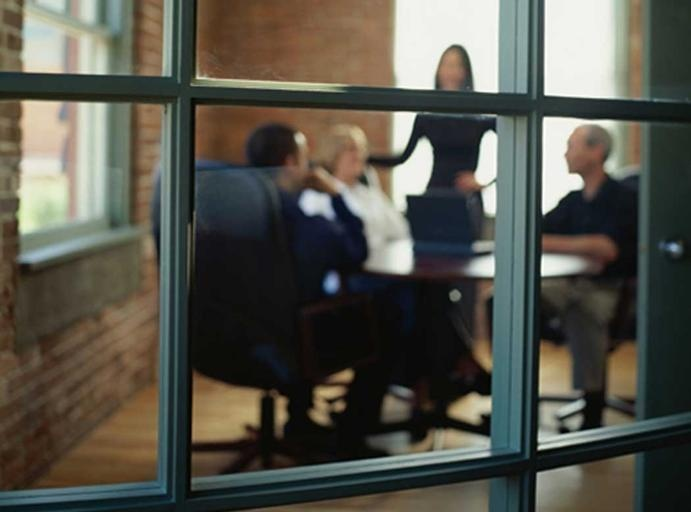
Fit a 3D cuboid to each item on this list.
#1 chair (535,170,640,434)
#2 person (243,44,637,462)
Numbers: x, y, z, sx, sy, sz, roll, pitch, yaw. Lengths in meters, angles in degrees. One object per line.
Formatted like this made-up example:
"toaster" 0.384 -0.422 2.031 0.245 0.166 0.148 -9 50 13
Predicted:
"chair" 0.824 0.070 2.523 0.268 0.981 0.325 -1 5 -5
"person" 0.245 -0.032 2.288 0.897 2.000 0.580 -8 -15 35
